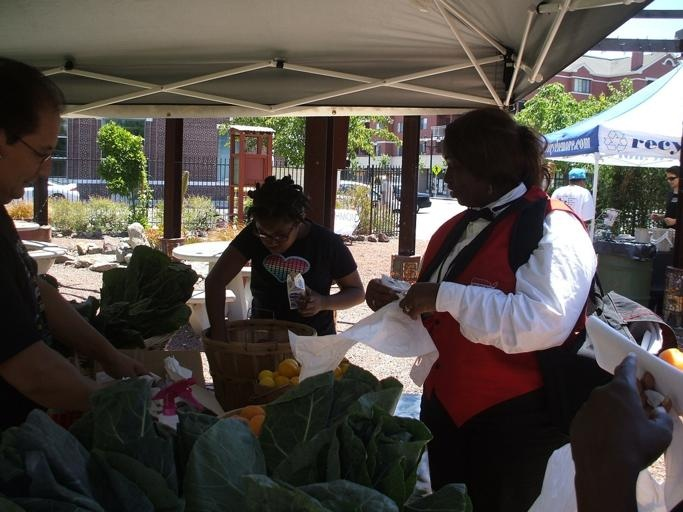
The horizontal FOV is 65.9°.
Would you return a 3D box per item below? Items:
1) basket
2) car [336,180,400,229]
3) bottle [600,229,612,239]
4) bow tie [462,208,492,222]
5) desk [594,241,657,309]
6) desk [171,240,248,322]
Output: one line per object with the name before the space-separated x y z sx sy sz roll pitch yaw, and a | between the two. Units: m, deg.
basket | -0.426 0.523 2.727 0.478 0.378 0.462 1 0 -36
car | 0.839 -1.624 17.549 1.595 1.039 1.860 5 8 3
bottle | 4.332 -0.355 8.652 0.210 0.160 0.207 3 7 0
bow tie | 0.588 -0.177 2.249 0.120 0.050 0.048 6 11 39
desk | 4.168 0.366 7.871 0.757 1.070 0.735 0 2 15
desk | -1.462 0.155 6.278 1.019 0.806 1.058 1 3 12
